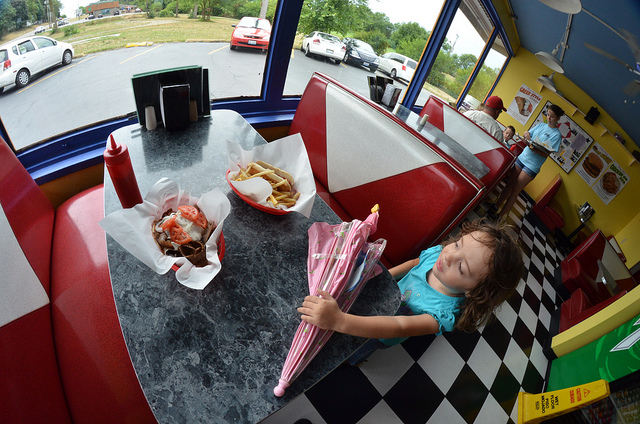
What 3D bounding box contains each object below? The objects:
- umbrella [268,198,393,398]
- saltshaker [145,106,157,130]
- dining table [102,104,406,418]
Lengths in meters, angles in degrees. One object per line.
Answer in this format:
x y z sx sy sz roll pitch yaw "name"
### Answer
0.027 0.476 2.580 0.585 0.335 1.268 33 68 -7 "umbrella"
-1.271 -0.710 2.877 0.074 0.156 0.064 -13 46 -24 "saltshaker"
-0.573 0.223 2.532 1.559 0.860 1.938 -24 54 -32 "dining table"
